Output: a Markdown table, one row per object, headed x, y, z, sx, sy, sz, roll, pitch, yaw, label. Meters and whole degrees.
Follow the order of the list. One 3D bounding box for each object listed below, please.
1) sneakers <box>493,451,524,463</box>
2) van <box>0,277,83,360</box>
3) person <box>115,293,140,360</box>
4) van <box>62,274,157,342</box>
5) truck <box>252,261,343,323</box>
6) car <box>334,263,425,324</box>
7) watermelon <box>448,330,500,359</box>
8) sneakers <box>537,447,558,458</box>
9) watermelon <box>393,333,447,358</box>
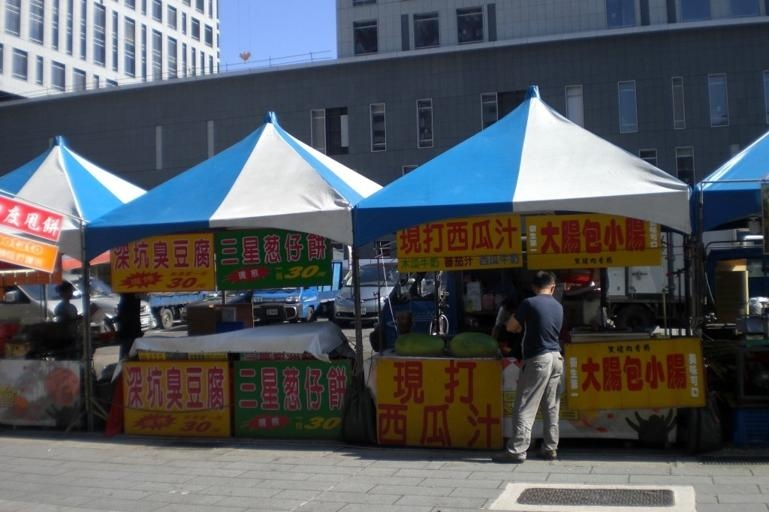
| x | y | z | sx | sy | sz | roll | pitch | yaw | label |
| --- | --- | --- | --- | --- | --- | --- | --- | --- | --- |
| 2.197 | 3.563 | 18.992 | 0.551 | 0.231 | 0.202 | 3 | -2 | 12 | sneakers |
| -7.188 | 1.279 | 22.249 | 2.308 | 1.253 | 1.686 | -6 | -6 | 36 | van |
| -5.144 | 1.368 | 21.566 | 0.499 | 1.240 | 0.491 | -2 | -3 | -15 | person |
| -6.775 | 1.309 | 28.111 | 3.444 | 1.496 | 1.598 | -1 | -1 | 16 | van |
| -3.090 | 0.848 | 31.445 | 1.447 | 1.625 | 3.035 | 1 | 10 | 0 | truck |
| -0.067 | 0.922 | 29.799 | 1.728 | 1.590 | 3.474 | 0 | 4 | 17 | car |
| 1.622 | 1.606 | 19.524 | 0.780 | 0.418 | 0.417 | -2 | -30 | 4 | watermelon |
| 2.903 | 3.499 | 19.029 | 0.300 | 0.199 | 0.158 | 10 | 9 | 25 | sneakers |
| 0.617 | 1.628 | 19.706 | 0.854 | 0.402 | 0.391 | 2 | 36 | 5 | watermelon |
